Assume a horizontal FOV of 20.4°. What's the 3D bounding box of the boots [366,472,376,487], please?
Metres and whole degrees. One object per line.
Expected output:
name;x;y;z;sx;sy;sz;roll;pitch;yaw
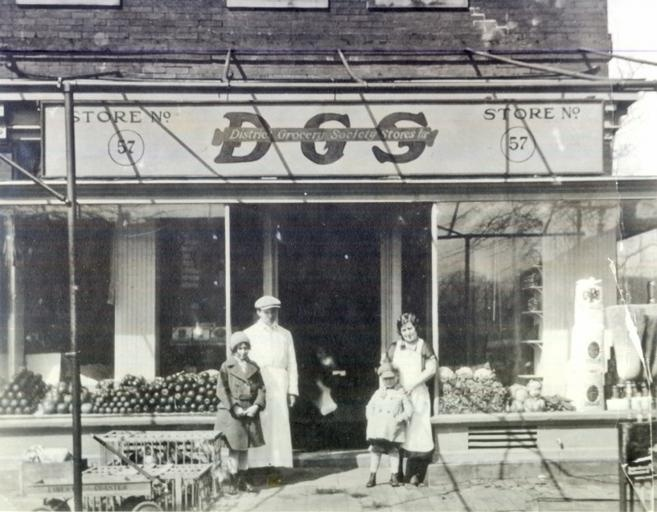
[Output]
boots;0.732;3.655;29.910;0.175;0.251;0.245;-3;-9;1

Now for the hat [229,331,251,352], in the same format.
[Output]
hat;-1.407;1.386;29.993;0.249;0.271;0.345;1;6;-23

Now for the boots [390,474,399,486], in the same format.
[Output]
boots;1.105;3.664;29.872;0.133;0.320;0.067;-2;-13;0

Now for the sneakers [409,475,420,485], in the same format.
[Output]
sneakers;1.436;3.666;29.942;0.166;0.207;0.119;1;-20;3
